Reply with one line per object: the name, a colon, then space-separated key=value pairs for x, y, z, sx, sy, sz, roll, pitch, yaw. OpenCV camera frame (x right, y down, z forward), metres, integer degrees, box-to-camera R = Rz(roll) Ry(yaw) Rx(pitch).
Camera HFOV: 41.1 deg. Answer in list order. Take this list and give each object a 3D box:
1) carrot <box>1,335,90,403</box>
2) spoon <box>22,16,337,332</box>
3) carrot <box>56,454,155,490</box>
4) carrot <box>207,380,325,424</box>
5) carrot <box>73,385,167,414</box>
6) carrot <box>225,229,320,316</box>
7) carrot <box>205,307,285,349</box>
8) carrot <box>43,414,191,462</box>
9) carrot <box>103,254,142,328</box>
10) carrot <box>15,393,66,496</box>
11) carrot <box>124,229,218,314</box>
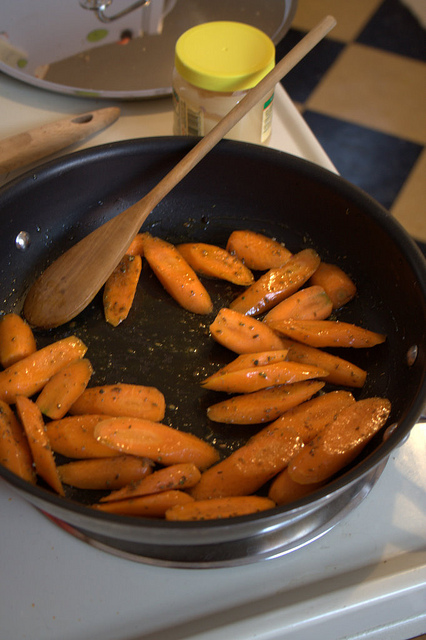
carrot: x=-0.174 y=0.040 z=0.646 sx=0.036 sy=0.037 sz=0.124 roll=30 pitch=43 yaw=29
spoon: x=-0.058 y=-0.181 z=0.735 sx=0.656 sy=0.064 sz=0.097 roll=-43 pitch=78 yaw=-7
carrot: x=-0.100 y=0.142 z=0.531 sx=0.101 sy=0.030 sz=0.033 roll=-2 pitch=32 yaw=6
carrot: x=0.055 y=0.092 z=0.599 sx=0.130 sy=0.029 sz=0.042 roll=-16 pitch=16 yaw=11
carrot: x=-0.097 y=0.082 z=0.581 sx=0.084 sy=0.029 sz=0.024 roll=1 pitch=52 yaw=6
carrot: x=0.069 y=-0.061 z=0.697 sx=0.111 sy=0.026 sz=0.102 roll=-15 pitch=67 yaw=-1
carrot: x=0.027 y=0.015 z=0.652 sx=0.096 sy=0.027 sz=0.045 roll=28 pitch=72 yaw=43
carrot: x=-0.094 y=0.104 z=0.571 sx=0.156 sy=0.035 sz=0.047 roll=3 pitch=17 yaw=13
carrot: x=-0.111 y=-0.042 z=0.695 sx=0.042 sy=0.006 sz=0.089 roll=8 pitch=75 yaw=17
carrot: x=-0.151 y=0.111 z=0.523 sx=0.029 sy=0.021 sz=0.108 roll=-40 pitch=65 yaw=23
carrot: x=-0.052 y=-0.062 z=0.697 sx=0.071 sy=0.024 sz=0.139 roll=-27 pitch=73 yaw=-7
